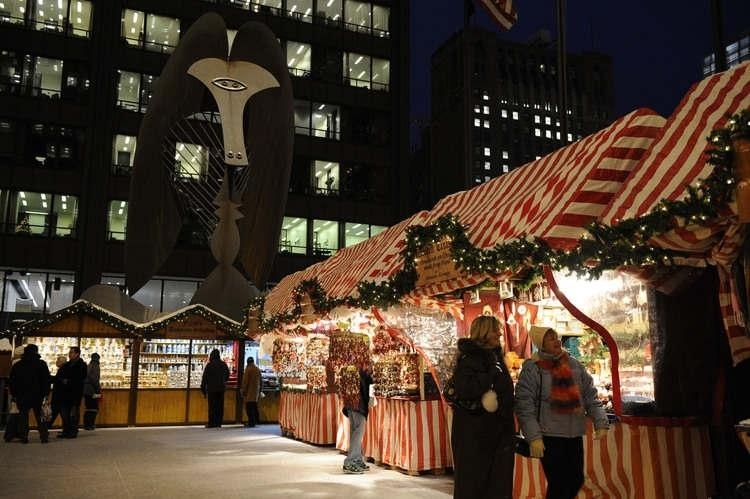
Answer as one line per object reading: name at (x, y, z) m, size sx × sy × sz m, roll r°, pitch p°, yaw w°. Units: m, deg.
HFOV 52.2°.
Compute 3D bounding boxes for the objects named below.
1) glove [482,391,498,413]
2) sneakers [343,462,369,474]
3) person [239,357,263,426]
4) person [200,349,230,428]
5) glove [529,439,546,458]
glove at (1.575, 2.086, 10.434) m, size 0.114 × 0.272 × 0.212 m, roll 8°, pitch -7°, yaw -36°
sneakers at (-0.358, 4.307, 15.044) m, size 0.493 × 0.240 × 0.193 m, roll 1°, pitch -3°, yaw -9°
person at (-3.705, 4.287, 23.005) m, size 0.570 × 2.067 × 1.425 m, roll 0°, pitch -5°, yaw -10°
person at (-4.771, 4.164, 22.831) m, size 0.770 × 2.283 × 0.912 m, roll 0°, pitch -5°, yaw -12°
glove at (2.256, 2.773, 10.610) m, size 0.201 × 0.282 × 0.233 m, roll -2°, pitch -5°, yaw 11°
